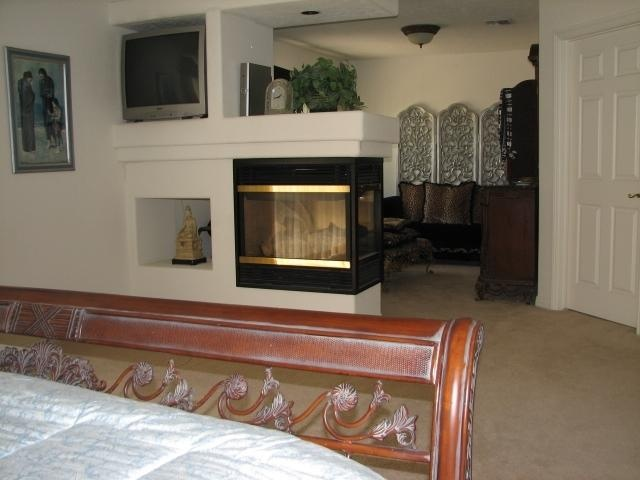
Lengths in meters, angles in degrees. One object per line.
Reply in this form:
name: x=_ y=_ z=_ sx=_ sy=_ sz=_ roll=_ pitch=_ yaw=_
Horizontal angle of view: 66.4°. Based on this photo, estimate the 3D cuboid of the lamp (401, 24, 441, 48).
lamp: x=1.316 y=-2.705 z=6.423 sx=0.272 sy=0.149 sz=0.288 roll=1 pitch=7 yaw=26

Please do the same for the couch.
couch: x=1.790 y=-0.300 z=7.345 sx=1.541 sy=1.269 sz=0.915 roll=3 pitch=-6 yaw=14

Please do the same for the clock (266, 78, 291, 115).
clock: x=-0.336 y=-1.145 z=3.963 sx=0.199 sy=0.318 sz=0.092 roll=-1 pitch=-10 yaw=10

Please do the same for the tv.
tv: x=-1.301 y=-1.408 z=4.374 sx=0.821 sy=0.788 sz=0.510 roll=0 pitch=-1 yaw=15

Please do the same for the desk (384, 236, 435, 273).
desk: x=1.150 y=0.252 z=6.202 sx=0.228 sy=0.486 sz=1.035 roll=5 pitch=10 yaw=40

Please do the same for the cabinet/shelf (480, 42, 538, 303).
cabinet/shelf: x=2.022 y=-0.565 z=5.248 sx=0.586 sy=2.317 sz=0.873 roll=2 pitch=8 yaw=19

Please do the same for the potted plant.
potted plant: x=0.020 y=-1.220 z=4.045 sx=0.593 sy=0.415 sz=0.465 roll=-4 pitch=4 yaw=-19
